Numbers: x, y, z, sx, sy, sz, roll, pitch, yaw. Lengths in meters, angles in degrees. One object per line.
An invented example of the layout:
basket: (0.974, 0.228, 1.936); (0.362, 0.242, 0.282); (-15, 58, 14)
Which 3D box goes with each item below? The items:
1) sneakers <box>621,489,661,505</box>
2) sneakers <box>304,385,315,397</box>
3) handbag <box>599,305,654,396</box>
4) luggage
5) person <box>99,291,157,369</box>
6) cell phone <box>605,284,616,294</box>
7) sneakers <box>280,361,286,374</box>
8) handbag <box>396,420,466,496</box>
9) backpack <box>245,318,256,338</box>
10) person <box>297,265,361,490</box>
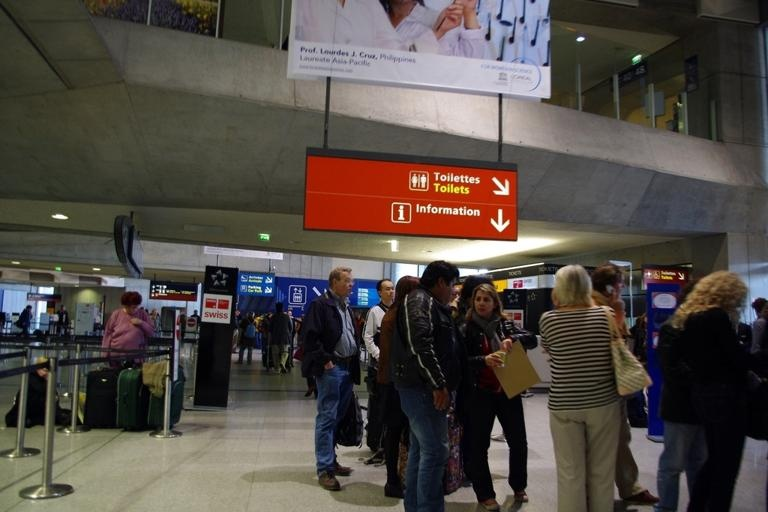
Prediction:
sneakers: (2.840, 2.676, 6.941); (0.444, 0.187, 0.153); (-2, -6, 7)
sneakers: (-1.448, 2.600, 11.952); (0.123, 0.127, 0.350); (20, -43, 8)
handbag: (2.394, 0.941, 6.167); (0.438, 0.895, 0.264); (0, -7, 15)
luggage: (-3.815, 2.109, 9.384); (0.886, 0.978, 1.276); (1, -2, -5)
person: (-3.885, 1.097, 9.393); (0.735, 1.163, 1.752); (4, -7, -24)
cell phone: (2.469, 0.360, 6.771); (0.096, 0.090, 0.072); (-5, 6, -15)
sneakers: (-2.573, 2.781, 15.499); (0.177, 0.241, 0.559); (0, -23, -4)
handbag: (0.575, 2.262, 7.103); (0.869, 0.900, 0.385); (3, -7, -14)
backpack: (-3.704, 2.014, 17.104); (0.301, 0.446, 0.413); (2, -11, -7)
person: (-0.648, 1.408, 7.396); (0.754, 2.590, 0.401); (3, -7, -19)
